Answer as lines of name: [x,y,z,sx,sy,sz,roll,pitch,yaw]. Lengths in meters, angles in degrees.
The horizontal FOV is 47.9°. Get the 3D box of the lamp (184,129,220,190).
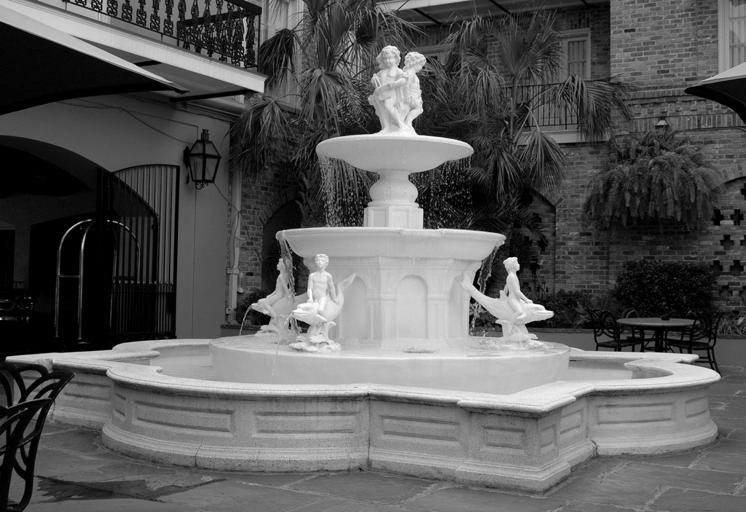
lamp: [-3.330,-1.836,16.345,0.626,1.201,0.539,2,2,-12]

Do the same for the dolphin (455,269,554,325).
dolphin: [1.608,0.495,9.970,1.070,0.620,0.352,3,-4,8]

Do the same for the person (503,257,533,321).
person: [1.737,0.371,9.979,0.337,0.752,0.291,-1,4,4]

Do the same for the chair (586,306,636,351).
chair: [4.207,1.303,14.790,0.630,0.721,0.618,-8,4,-8]
